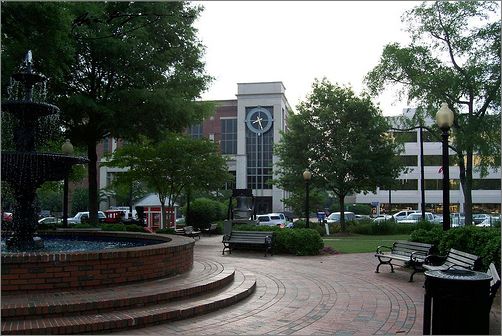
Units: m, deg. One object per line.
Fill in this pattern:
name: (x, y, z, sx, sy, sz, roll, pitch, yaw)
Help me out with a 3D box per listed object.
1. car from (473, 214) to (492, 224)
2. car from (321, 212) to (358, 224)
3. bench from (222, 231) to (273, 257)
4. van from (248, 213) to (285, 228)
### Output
car: (22.238, 4.864, 52.826, 2.224, 0.976, 3.368, -3, -8, 10)
car: (8.344, 4.340, 50.393, 3.129, 1.268, 1.487, 7, -11, -38)
bench: (-0.153, 3.733, 27.269, 2.689, 1.078, 0.914, -3, -3, 35)
van: (1.741, 4.594, 49.335, 2.642, 1.176, 1.483, 2, -6, 2)
